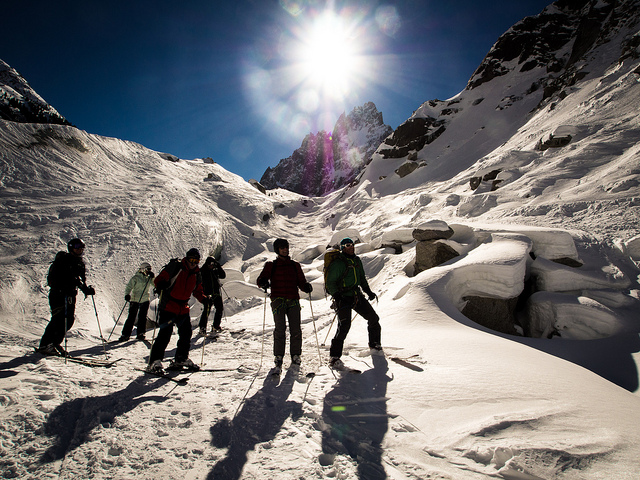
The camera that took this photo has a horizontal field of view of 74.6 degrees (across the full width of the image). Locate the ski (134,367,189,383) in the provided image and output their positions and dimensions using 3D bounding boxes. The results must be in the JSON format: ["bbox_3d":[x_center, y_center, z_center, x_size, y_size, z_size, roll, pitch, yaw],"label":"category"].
[{"bbox_3d":[-4.750,4.053,12.509,1.700,0.127,0.169,7,11,16],"label":"ski"}]

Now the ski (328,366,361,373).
[{"bbox_3d":[0.883,3.866,12.509,0.608,0.167,0.079,-5,-14,16],"label":"ski"}]

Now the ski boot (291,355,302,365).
[{"bbox_3d":[-0.771,3.698,12.949,0.300,0.278,0.136,-3,-14,3],"label":"ski boot"}]

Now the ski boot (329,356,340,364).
[{"bbox_3d":[0.413,3.668,12.809,0.280,0.218,0.111,-4,-14,8],"label":"ski boot"}]

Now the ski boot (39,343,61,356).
[{"bbox_3d":[-8.632,3.522,13.449,0.423,0.108,0.394,14,12,31],"label":"ski boot"}]

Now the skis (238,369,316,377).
[{"bbox_3d":[-1.306,3.993,12.551,2.346,0.210,0.206,-4,-13,11],"label":"skis"}]

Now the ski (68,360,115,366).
[{"bbox_3d":[-7.157,3.864,13.128,1.224,0.168,0.215,-1,-12,-2],"label":"ski"}]
